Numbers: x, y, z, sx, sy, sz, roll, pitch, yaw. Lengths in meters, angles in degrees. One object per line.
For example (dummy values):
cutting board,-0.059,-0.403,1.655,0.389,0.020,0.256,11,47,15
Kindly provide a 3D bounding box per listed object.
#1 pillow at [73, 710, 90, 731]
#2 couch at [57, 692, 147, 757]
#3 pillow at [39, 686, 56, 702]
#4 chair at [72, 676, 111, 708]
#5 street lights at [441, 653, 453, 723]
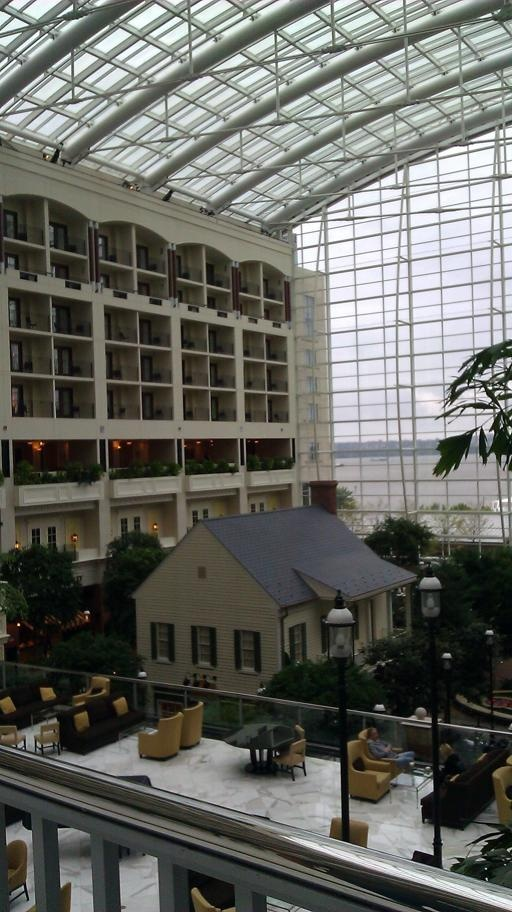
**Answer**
pillow,-2.942,4.444,14.886,0.104,0.289,0.295,-10,-4,32
couch,-2.617,4.582,15.322,0.613,0.689,1.688,-2,-2,30
pillow,-3.946,4.494,16.897,0.359,0.329,0.190,2,-19,-28
chair,-3.087,4.287,16.182,0.545,0.805,0.673,-6,-11,37
street lights,4.614,5.612,21.439,0.268,1.620,0.298,2,-18,3
